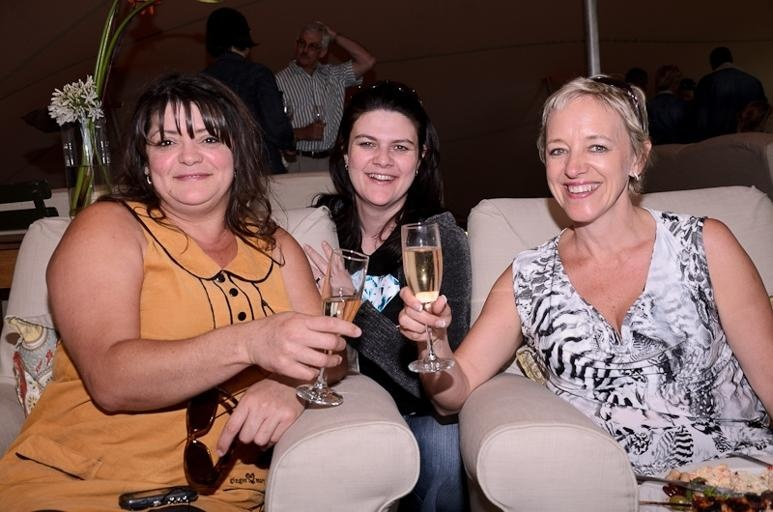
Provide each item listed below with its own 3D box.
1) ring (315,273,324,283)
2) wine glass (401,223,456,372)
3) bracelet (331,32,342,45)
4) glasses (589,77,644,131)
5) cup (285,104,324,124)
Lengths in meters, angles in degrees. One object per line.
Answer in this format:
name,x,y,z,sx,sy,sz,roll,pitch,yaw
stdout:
ring,-0.306,0.097,2.522,0.035,0.047,0.019,-4,-31,7
wine glass,0.146,0.161,1.969,0.183,0.547,0.261,2,3,7
bracelet,-0.555,-2.363,6.089,0.083,0.143,0.103,8,3,-8
glasses,0.937,-0.603,2.244,0.200,0.198,0.059,14,20,39
cup,-0.841,-1.392,5.830,0.336,0.338,0.326,-1,13,0
